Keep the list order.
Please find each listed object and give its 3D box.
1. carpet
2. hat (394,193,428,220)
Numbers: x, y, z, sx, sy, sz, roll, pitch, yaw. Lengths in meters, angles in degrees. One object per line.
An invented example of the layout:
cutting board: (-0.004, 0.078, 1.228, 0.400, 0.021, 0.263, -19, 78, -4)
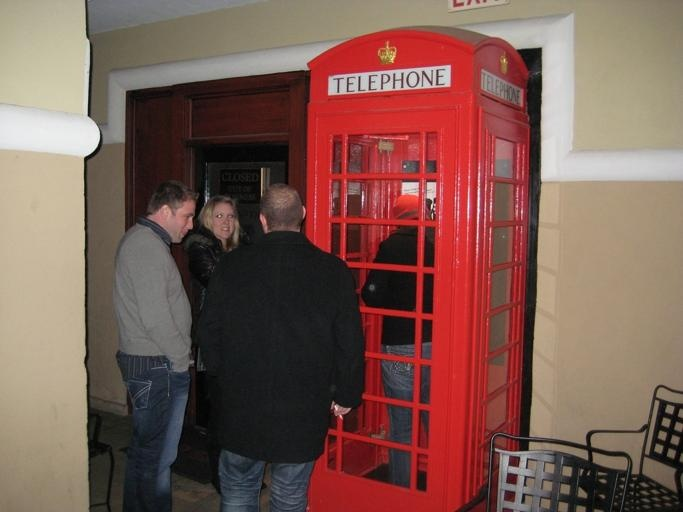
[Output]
carpet: (-1.201, 1.365, 4.086, 0.605, 0.158, 0.566, 5, 6, 36)
hat: (0.394, -0.281, 3.428, 0.136, 0.113, 0.200, -5, -4, 7)
